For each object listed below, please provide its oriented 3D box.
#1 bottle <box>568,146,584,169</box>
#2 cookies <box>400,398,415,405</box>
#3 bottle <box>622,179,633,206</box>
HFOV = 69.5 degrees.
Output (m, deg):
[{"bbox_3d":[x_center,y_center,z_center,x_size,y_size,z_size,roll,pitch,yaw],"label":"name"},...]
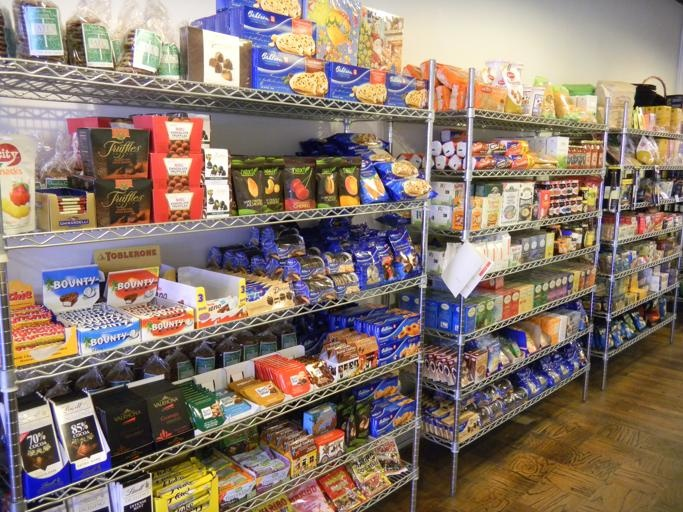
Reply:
[{"bbox_3d":[1.885,-0.797,3.986,0.134,0.170,0.186,11,19,42],"label":"bottle"},{"bbox_3d":[0.383,0.865,2.937,0.062,0.016,0.057,2,0,-24],"label":"cookies"},{"bbox_3d":[2.681,-0.607,4.643,0.132,0.216,0.244,8,15,31],"label":"bottle"}]
